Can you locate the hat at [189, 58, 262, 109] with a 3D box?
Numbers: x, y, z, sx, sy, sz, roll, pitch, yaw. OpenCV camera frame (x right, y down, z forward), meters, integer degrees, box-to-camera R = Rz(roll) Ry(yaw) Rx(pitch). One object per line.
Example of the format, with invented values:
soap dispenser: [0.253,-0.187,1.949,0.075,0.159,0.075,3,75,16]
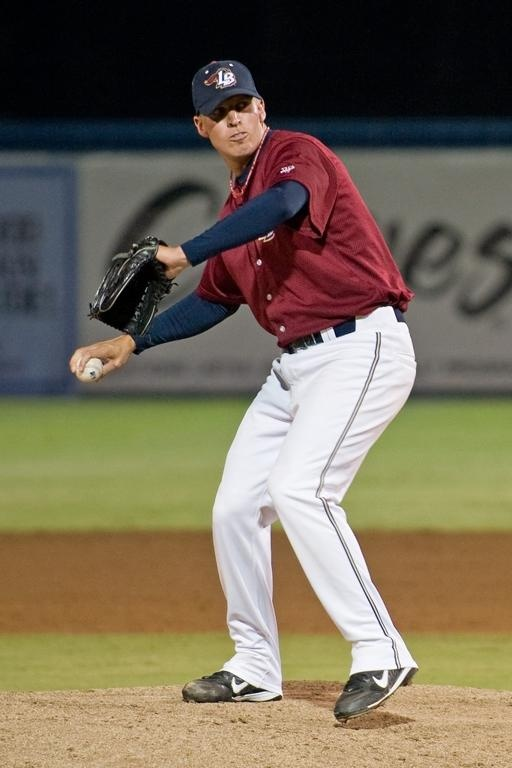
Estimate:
hat: [-0.085,-0.736,2.643,0.134,0.094,0.173,-20,11,-8]

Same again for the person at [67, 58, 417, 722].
person: [0.026,0.053,2.633,0.705,1.737,0.898,-6,10,-38]

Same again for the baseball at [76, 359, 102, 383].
baseball: [-0.426,-0.027,2.623,0.043,0.053,0.059,42,0,-14]
